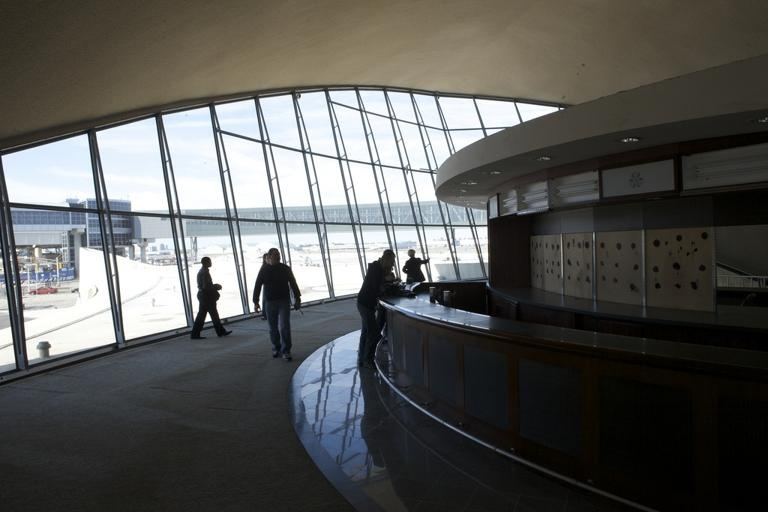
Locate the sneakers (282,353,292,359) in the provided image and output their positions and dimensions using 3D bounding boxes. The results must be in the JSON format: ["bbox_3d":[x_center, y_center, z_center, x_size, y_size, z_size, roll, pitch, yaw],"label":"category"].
[{"bbox_3d":[-1.833,1.903,9.086,0.153,0.109,0.165,-3,7,-15],"label":"sneakers"}]

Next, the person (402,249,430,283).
[{"bbox_3d":[0.822,0.219,12.906,0.581,0.847,0.796,2,8,24],"label":"person"}]

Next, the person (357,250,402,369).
[{"bbox_3d":[-0.116,0.933,8.749,0.775,2.029,0.477,-2,7,-3],"label":"person"}]

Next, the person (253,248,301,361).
[{"bbox_3d":[-2.067,0.948,9.256,0.857,2.084,0.811,-3,7,-12],"label":"person"}]

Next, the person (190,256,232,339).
[{"bbox_3d":[-4.248,0.945,11.498,0.857,1.933,0.930,-4,8,-18],"label":"person"}]

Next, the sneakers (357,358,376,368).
[{"bbox_3d":[-0.324,1.931,8.664,0.281,0.262,0.168,-1,-1,8],"label":"sneakers"}]

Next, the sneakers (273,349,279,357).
[{"bbox_3d":[-2.111,1.899,9.325,0.124,0.086,0.121,-1,2,-8],"label":"sneakers"}]
